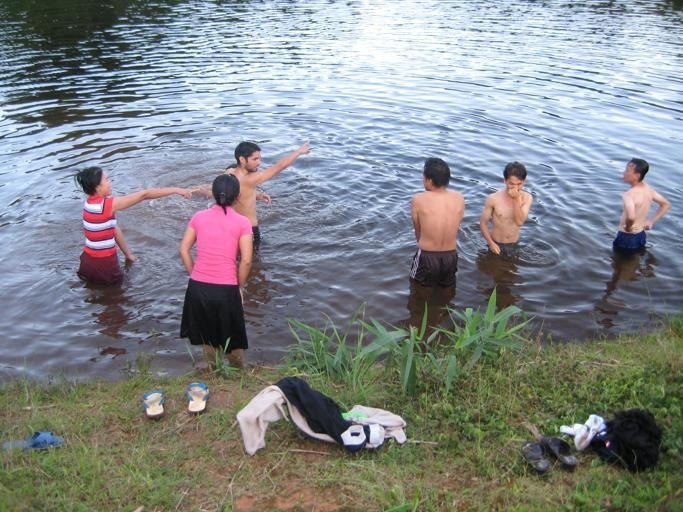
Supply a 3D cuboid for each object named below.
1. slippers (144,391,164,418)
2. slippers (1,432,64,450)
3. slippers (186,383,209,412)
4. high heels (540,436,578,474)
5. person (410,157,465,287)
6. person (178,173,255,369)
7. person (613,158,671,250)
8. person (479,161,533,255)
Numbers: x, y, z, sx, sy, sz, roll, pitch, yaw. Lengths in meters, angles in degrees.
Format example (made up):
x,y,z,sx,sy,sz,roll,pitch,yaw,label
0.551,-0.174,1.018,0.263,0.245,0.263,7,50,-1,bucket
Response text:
x,y,z,sx,sy,sz,roll,pitch,yaw,label
-2.358,1.857,7.393,0.242,0.195,0.342,-5,23,-18,slippers
-3.541,2.159,6.851,0.440,0.096,0.244,7,6,-14,slippers
-1.835,1.803,7.508,0.174,0.123,0.384,3,28,-7,slippers
2.500,2.265,6.772,0.219,0.112,0.416,-12,26,-5,high heels
1.620,-0.562,10.149,0.896,2.217,0.544,6,24,10,person
-1.768,0.292,8.231,1.029,2.793,0.783,-2,24,-9,person
5.592,-0.963,11.125,1.074,1.730,0.536,-13,28,-31,person
3.052,-0.939,10.990,0.836,1.729,0.866,7,24,12,person
